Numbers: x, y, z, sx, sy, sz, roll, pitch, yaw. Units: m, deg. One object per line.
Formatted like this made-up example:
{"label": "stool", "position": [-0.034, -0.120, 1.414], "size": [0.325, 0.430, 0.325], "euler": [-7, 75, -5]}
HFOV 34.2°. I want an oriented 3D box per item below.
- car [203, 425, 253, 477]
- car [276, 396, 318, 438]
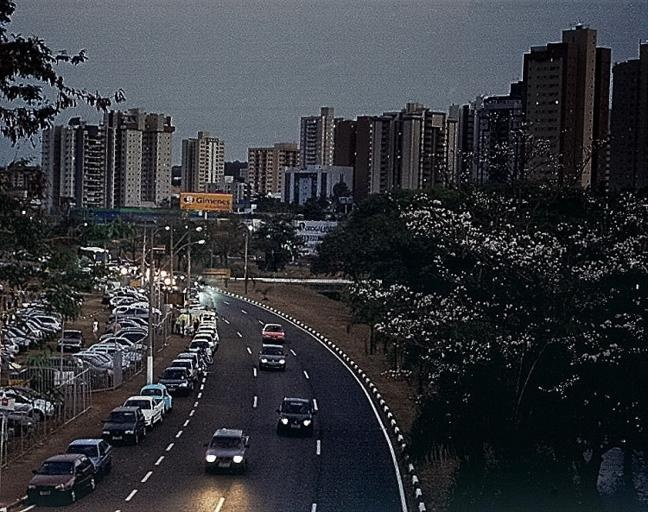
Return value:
{"label": "car", "position": [-3.888, 7.916, 42.280], "size": [1.406, 1.177, 3.056], "euler": [1, -1, -1]}
{"label": "car", "position": [-1.255, 7.483, 48.445], "size": [1.320, 1.222, 2.214], "euler": [0, -4, -2]}
